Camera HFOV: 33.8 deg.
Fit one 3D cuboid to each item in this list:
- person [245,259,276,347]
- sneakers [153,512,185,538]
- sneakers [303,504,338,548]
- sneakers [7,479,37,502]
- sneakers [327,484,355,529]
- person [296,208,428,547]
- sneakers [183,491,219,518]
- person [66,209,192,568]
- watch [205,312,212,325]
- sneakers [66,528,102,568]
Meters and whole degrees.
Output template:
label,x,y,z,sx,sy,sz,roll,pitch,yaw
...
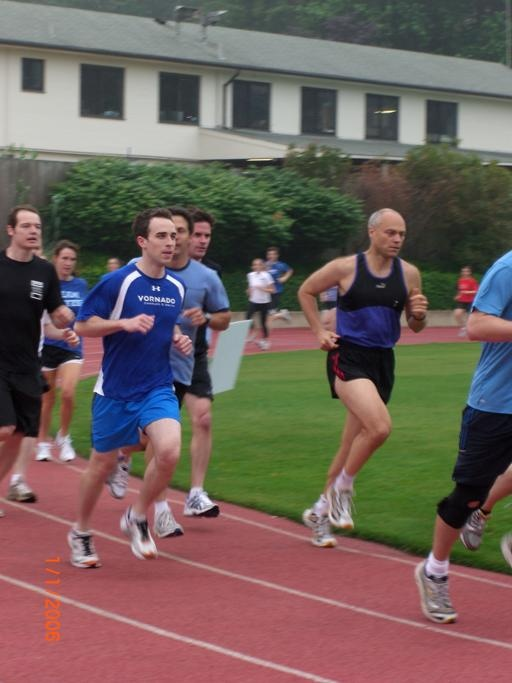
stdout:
label,x,y,z,sx,sy,sz,roll,pitch,yaw
person,0.071,-0.832,18.592,0.575,1.973,0.890,-1,2,0
sneakers,-0.547,1.126,5.195,0.129,0.094,0.235,0,-12,-24
sneakers,0.379,1.142,5.281,0.149,0.143,0.359,-6,18,-20
sneakers,-1.711,1.104,6.196,0.250,0.107,0.122,-4,-5,43
sneakers,0.544,0.996,5.160,0.131,0.134,0.305,3,40,-25
person,0.649,0.235,5.200,0.765,2.127,0.793,-1,2,1
sneakers,-0.383,1.066,5.501,0.122,0.125,0.305,5,-14,-31
person,-0.654,0.263,4.332,0.616,1.924,0.528,-1,2,-10
watch,-0.313,-0.154,5.450,0.055,0.068,0.063,5,-40,-5
sneakers,-0.926,1.116,4.540,0.124,0.109,0.293,2,5,-28
